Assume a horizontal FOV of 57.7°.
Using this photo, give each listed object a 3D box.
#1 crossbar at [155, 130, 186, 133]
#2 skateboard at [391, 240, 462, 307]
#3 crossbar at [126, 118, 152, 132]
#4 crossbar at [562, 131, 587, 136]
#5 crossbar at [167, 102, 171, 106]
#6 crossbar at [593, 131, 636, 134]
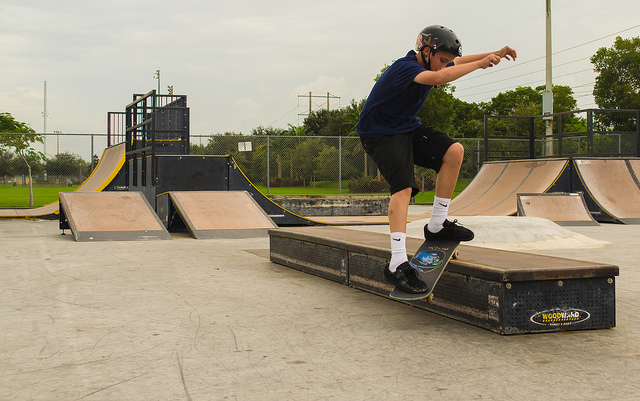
[{"bbox_3d":[-3.405,-1.574,13.277,0.376,0.067,0.346,1,0,17],"label":"crossbar"},{"bbox_3d":[0.999,0.590,5.262,0.377,0.183,1.231,8,26,25],"label":"skateboard"},{"bbox_3d":[-4.162,-1.688,13.260,0.508,0.298,1.718,-2,8,-19],"label":"crossbar"},{"bbox_3d":[8.009,-2.088,18.014,0.523,0.171,4.775,5,9,24],"label":"crossbar"},{"bbox_3d":[-3.891,-2.471,14.976,0.077,0.061,0.470,-2,9,-21],"label":"crossbar"},{"bbox_3d":[8.268,-1.909,16.406,0.942,0.078,1.525,3,8,17],"label":"crossbar"}]
